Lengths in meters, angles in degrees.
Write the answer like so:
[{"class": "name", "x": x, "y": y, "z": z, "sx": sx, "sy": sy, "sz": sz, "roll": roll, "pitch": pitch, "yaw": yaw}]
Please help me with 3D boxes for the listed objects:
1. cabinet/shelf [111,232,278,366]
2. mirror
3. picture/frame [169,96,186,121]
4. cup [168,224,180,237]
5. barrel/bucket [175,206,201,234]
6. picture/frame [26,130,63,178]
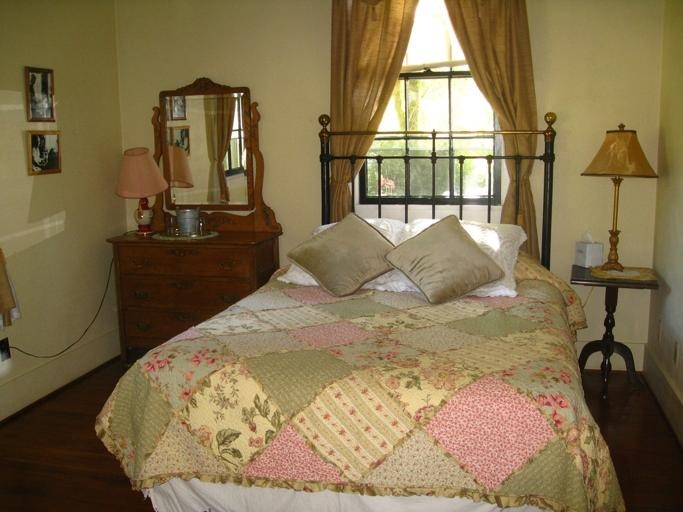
[{"class": "cabinet/shelf", "x": -1.014, "y": 0.314, "z": 3.916, "sx": 1.048, "sy": 0.898, "sz": 0.416, "roll": 0, "pitch": 7, "yaw": 12}, {"class": "mirror", "x": -0.893, "y": -0.759, "z": 4.012, "sx": 1.214, "sy": 1.162, "sz": 0.035, "roll": 2, "pitch": 11, "yaw": 9}, {"class": "picture/frame", "x": -1.208, "y": -1.107, "z": 4.050, "sx": 0.177, "sy": 0.234, "sz": 0.026, "roll": 3, "pitch": 11, "yaw": 11}, {"class": "cup", "x": -1.194, "y": -0.185, "z": 3.903, "sx": 0.057, "sy": 0.054, "sz": 0.100, "roll": 2, "pitch": 6, "yaw": -11}, {"class": "barrel/bucket", "x": -1.074, "y": -0.253, "z": 3.842, "sx": 0.176, "sy": 0.178, "sz": 0.170, "roll": 0, "pitch": 9, "yaw": 0}, {"class": "picture/frame", "x": -1.865, "y": -0.657, "z": 3.458, "sx": 0.318, "sy": 0.265, "sz": 0.016, "roll": 5, "pitch": 8, "yaw": 27}]
